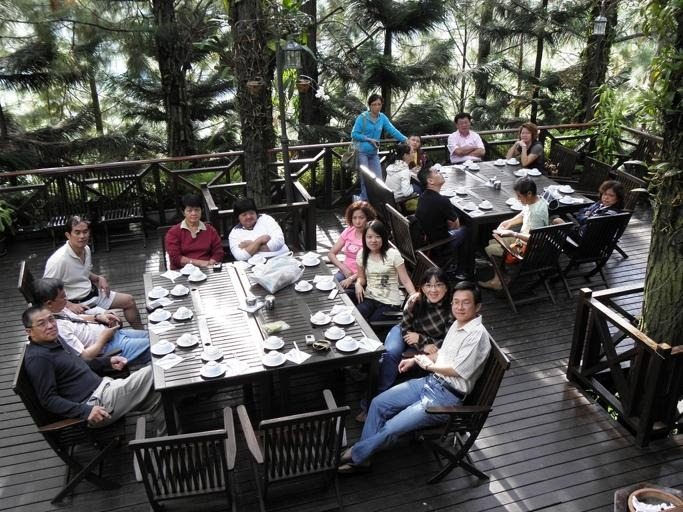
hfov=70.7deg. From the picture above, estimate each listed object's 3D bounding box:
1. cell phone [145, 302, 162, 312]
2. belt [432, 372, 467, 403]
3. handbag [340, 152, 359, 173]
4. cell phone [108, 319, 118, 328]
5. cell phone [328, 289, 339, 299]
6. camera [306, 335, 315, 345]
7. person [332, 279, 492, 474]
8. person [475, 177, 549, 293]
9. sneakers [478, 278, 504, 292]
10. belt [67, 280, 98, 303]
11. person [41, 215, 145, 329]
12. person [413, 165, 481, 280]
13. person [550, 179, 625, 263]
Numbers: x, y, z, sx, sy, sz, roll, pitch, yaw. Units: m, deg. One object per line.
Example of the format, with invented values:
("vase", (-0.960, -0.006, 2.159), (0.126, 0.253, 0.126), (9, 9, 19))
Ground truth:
("cell phone", (-1.947, 0.520, 4.956), (0.096, 0.031, 0.127), (27, 37, 27))
("belt", (0.971, 1.169, 4.250), (0.246, 0.062, 0.187), (30, -5, 4))
("handbag", (0.157, -1.671, 8.560), (0.185, 0.325, 0.361), (-4, 27, -28))
("cell phone", (-2.512, 0.733, 5.266), (0.092, 0.074, 0.101), (21, 23, 26))
("cell phone", (-0.083, 0.409, 5.154), (0.073, 0.014, 0.185), (11, 29, 16))
("camera", (-0.287, 0.773, 4.461), (0.079, 0.021, 0.074), (-8, 41, -11))
("person", (0.706, 1.072, 4.178), (1.206, 1.574, 0.672), (-16, 24, -38))
("person", (2.364, -0.242, 6.634), (1.177, 1.803, 0.764), (-2, 42, 11))
("sneakers", (2.104, 0.398, 6.730), (0.112, 0.121, 0.321), (-9, 12, -34))
("belt", (-3.000, 0.431, 5.614), (0.282, 0.116, 0.200), (-8, 47, 0))
("person", (-3.009, 0.339, 5.858), (1.285, 1.564, 0.787), (-7, 20, -33))
("person", (1.460, -0.434, 6.894), (0.951, 1.640, 0.727), (-9, 19, -17))
("person", (3.467, -0.517, 6.978), (1.021, 1.211, 0.729), (21, 31, 25))
